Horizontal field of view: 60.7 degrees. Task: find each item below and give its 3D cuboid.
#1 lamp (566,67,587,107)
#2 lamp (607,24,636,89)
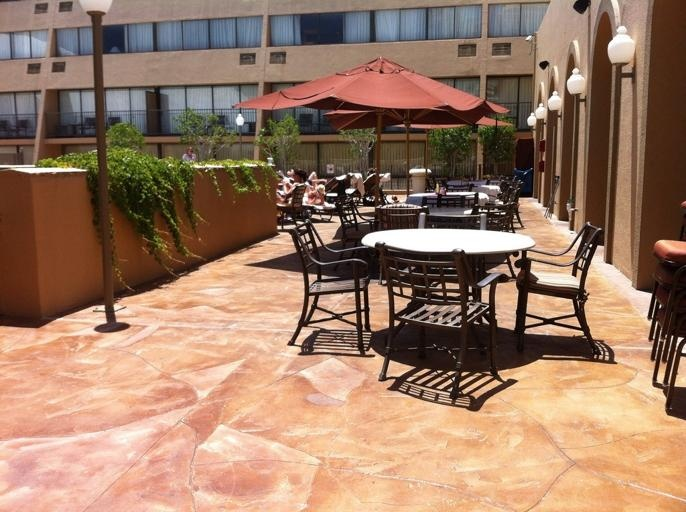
[{"bbox_3d":[4.914,-3.562,12.291,0.413,0.702,0.402,2,12,31],"label":"lamp"},{"bbox_3d":[4.142,-3.021,8.628,0.368,0.883,1.003,5,14,25],"label":"lamp"}]
